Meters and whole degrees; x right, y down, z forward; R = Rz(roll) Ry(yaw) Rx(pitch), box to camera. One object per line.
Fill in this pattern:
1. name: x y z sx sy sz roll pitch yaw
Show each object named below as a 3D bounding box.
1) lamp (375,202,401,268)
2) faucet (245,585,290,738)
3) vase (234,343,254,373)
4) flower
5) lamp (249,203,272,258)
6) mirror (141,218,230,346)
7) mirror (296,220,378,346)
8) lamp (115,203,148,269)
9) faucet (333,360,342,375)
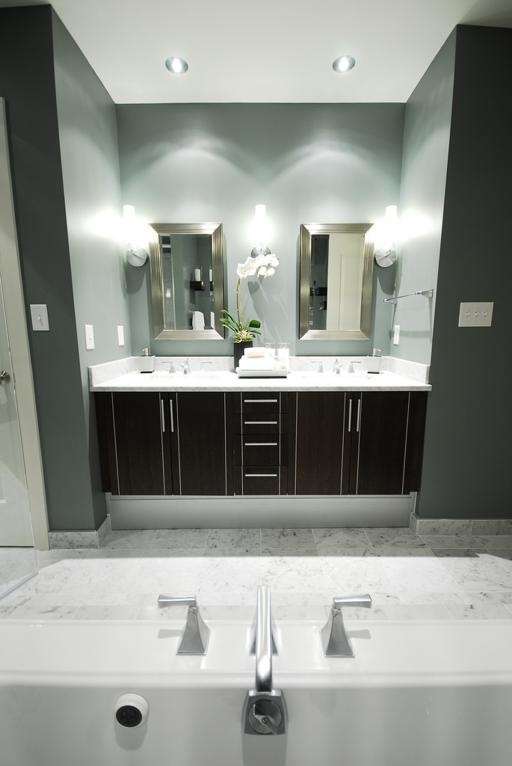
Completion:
1. lamp: 0.727 -0.776 2.698 0.118 0.277 0.152 3 -5 -29
2. faucet: 0.020 0.544 0.954 0.083 0.297 0.202 0 -4 3
3. vase: -0.059 -0.153 2.795 0.109 0.219 0.126 3 4 -2
4. flower: -0.029 -0.465 2.735 0.316 0.512 0.259 0 -4 3
5. lamp: 0.037 -0.821 2.696 0.109 0.270 0.133 1 -4 -1
6. mirror: -0.378 -0.588 2.759 0.535 0.920 0.064 1 14 1
7. mirror: 0.441 -0.551 2.755 0.398 0.685 0.022 1 -10 14
8. lamp: -0.662 -0.787 2.709 0.125 0.297 0.174 -2 -5 34
9. faucet: 0.457 -0.089 2.755 0.050 0.118 0.066 1 9 1
